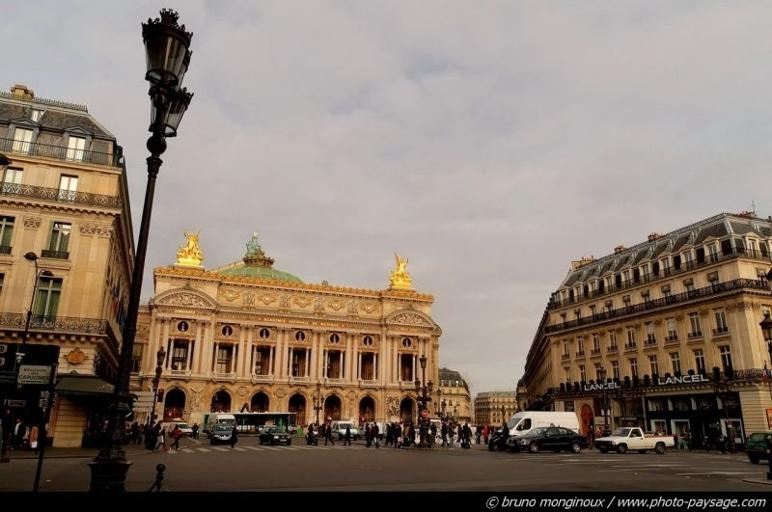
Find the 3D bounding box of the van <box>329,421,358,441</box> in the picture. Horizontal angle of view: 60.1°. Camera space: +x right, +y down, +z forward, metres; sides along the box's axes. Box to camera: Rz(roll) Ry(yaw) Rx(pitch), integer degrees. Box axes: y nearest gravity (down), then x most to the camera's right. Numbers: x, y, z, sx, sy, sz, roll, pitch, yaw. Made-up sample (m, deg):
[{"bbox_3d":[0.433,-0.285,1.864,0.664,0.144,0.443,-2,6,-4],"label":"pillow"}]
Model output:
[{"bbox_3d":[-4.026,17.926,68.680,2.226,1.886,3.991,7,-24,-22],"label":"van"}]
